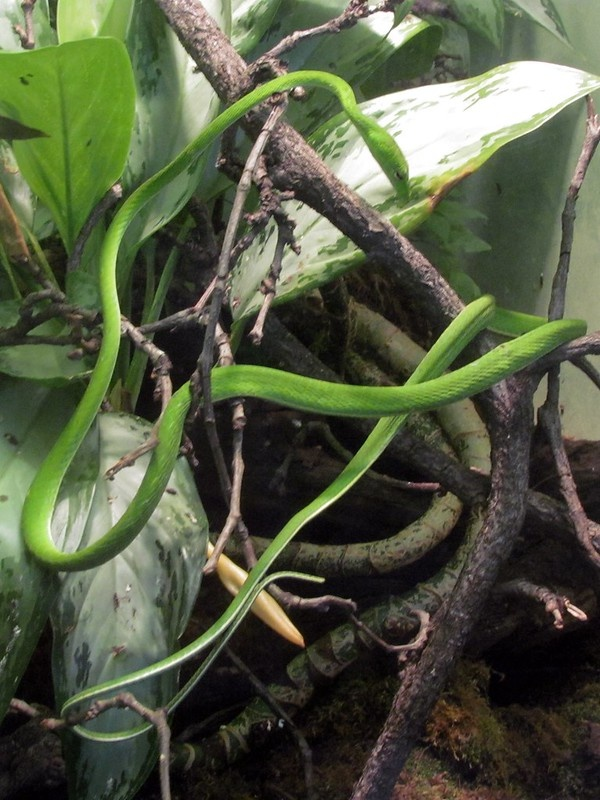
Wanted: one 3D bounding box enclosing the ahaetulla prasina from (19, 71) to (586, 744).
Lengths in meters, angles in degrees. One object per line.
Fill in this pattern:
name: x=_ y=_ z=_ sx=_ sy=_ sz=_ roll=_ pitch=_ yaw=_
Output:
ahaetulla prasina: x=-0.001 y=-0.030 z=1.407 sx=1.285 sy=0.781 sz=0.217 roll=-46 pitch=-3 yaw=-12
